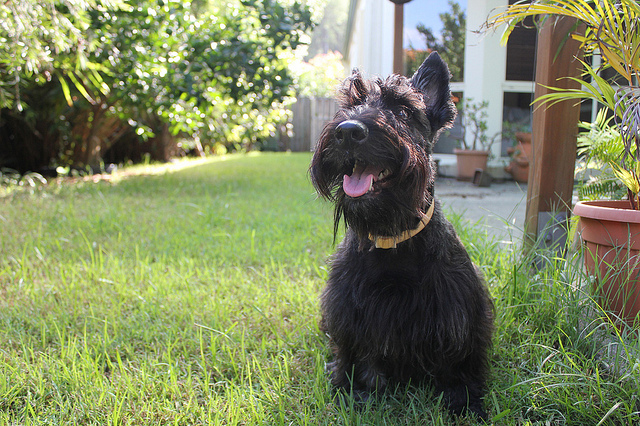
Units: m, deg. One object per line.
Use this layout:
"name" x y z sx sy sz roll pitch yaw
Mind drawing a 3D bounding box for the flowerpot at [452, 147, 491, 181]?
"flowerpot" 2.664 -0.897 10.189 0.537 0.502 0.582 1 4 -2

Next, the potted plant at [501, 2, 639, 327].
"potted plant" 1.979 -0.459 4.335 0.836 2.291 1.334 4 12 20
